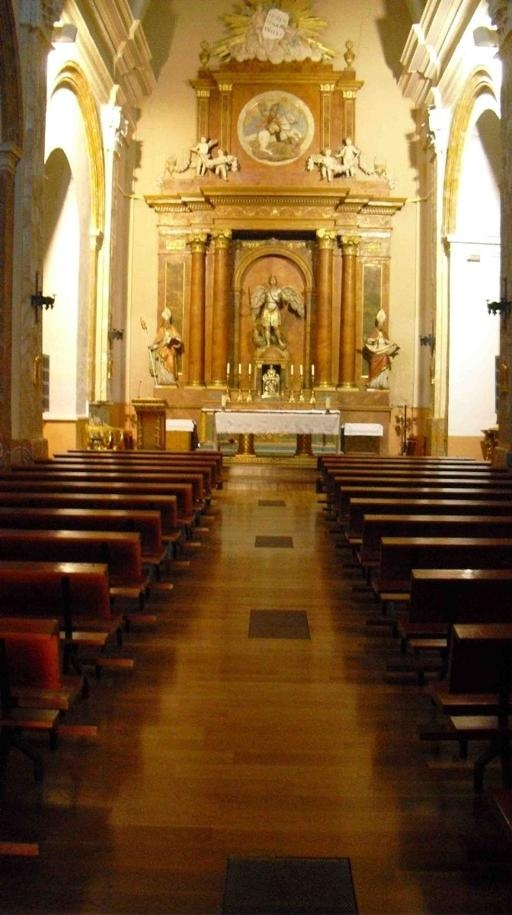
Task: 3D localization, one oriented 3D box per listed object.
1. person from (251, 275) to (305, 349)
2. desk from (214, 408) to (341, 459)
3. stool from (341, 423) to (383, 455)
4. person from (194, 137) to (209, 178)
[{"bbox_3d":[0.488,-3.286,16.295,1.404,2.190,0.586,0,0,1],"label":"person"},{"bbox_3d":[0.286,-0.516,13.381,2.065,0.832,2.908,1,2,-4],"label":"desk"},{"bbox_3d":[2.016,-0.376,13.875,0.732,0.645,0.518,1,7,3],"label":"stool"},{"bbox_3d":[-1.175,-6.560,15.899,0.327,0.858,0.239,1,2,-1],"label":"person"}]
